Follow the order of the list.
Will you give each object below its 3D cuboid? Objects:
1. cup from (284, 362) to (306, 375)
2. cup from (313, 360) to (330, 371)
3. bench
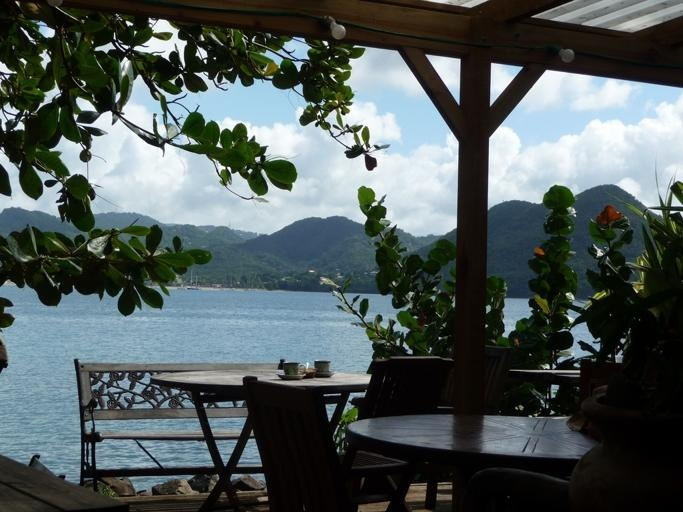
[{"bbox_3d":[-0.323,0.760,4.612,0.123,0.086,0.082,7,-12,-41],"label":"cup"},{"bbox_3d":[-0.144,0.766,4.777,0.093,0.068,0.098,-1,-3,0],"label":"cup"},{"bbox_3d":[-1.142,1.281,4.913,1.369,0.918,0.525,6,-2,-30],"label":"bench"}]
